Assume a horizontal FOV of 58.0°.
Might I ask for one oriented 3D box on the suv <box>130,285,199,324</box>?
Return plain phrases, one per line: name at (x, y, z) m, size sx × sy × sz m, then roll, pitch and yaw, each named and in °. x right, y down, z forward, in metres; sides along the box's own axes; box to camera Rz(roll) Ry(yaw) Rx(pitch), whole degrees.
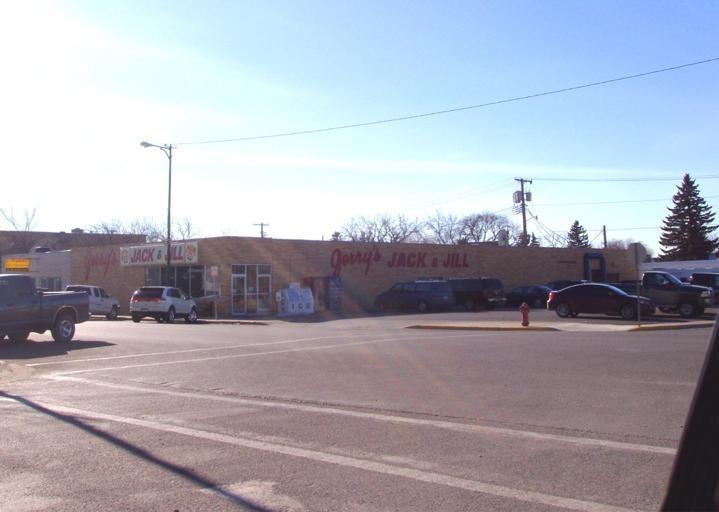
suv at (-9.906, 2.519, 34.153) m, size 1.715 × 1.331 × 3.213 m, roll -2°, pitch -2°, yaw 21°
